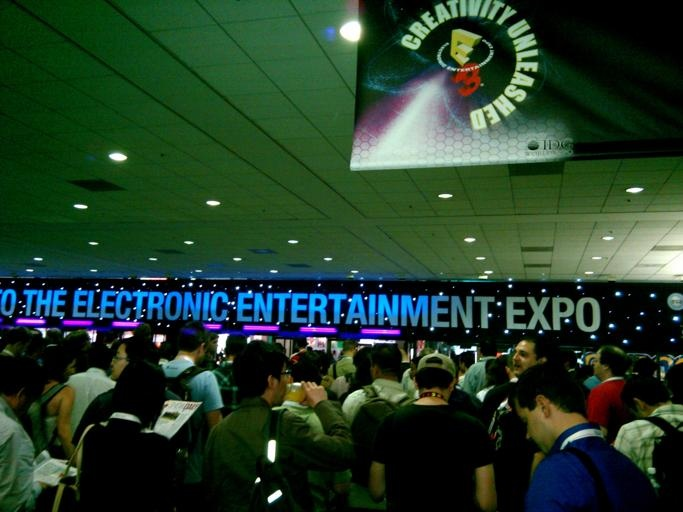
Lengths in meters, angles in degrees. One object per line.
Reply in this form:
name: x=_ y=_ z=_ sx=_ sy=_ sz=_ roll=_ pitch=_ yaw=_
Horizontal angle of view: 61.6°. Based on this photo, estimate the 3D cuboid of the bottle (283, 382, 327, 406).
bottle: x=-0.267 y=0.979 z=4.036 sx=0.290 sy=0.148 sz=0.180 roll=-3 pitch=-23 yaw=39

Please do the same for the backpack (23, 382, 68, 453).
backpack: x=-2.502 y=1.379 z=4.864 sx=0.231 sy=0.571 sz=0.503 roll=4 pitch=-14 yaw=-10

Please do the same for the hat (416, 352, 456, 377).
hat: x=0.685 y=0.785 z=4.152 sx=0.270 sy=0.171 sz=0.324 roll=-1 pitch=-13 yaw=9

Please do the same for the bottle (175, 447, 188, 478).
bottle: x=-1.290 y=1.668 z=4.585 sx=0.051 sy=0.236 sz=0.114 roll=-11 pitch=-19 yaw=40

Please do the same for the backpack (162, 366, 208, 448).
backpack: x=-1.279 y=1.224 z=4.629 sx=0.360 sy=0.658 sz=0.628 roll=5 pitch=-14 yaw=-15

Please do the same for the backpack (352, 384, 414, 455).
backpack: x=0.308 y=1.243 z=4.302 sx=0.495 sy=0.583 sz=0.348 roll=10 pitch=-19 yaw=8
